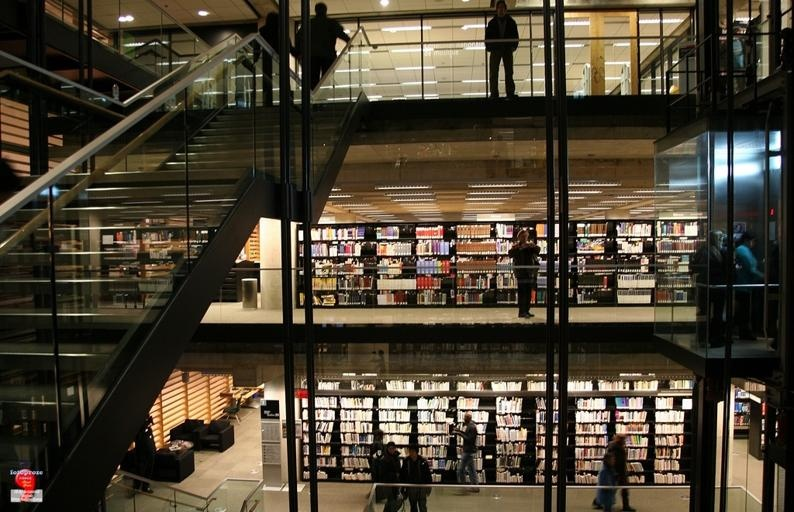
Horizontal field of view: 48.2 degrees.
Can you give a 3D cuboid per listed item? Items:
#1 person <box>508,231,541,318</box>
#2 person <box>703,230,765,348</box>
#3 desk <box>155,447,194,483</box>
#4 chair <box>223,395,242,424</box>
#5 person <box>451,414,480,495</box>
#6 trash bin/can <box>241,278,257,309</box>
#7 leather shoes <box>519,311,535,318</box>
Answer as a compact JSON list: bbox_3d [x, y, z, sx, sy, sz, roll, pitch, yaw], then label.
[{"bbox_3d":[2.095,0.301,14.579,0.464,1.488,0.458,1,-8,7],"label":"person"},{"bbox_3d":[4.485,0.446,11.885,0.923,1.558,0.607,10,-11,-44],"label":"person"},{"bbox_3d":[-4.225,3.966,16.715,0.760,0.595,0.392,5,-9,-17],"label":"desk"},{"bbox_3d":[-3.838,3.486,19.974,0.403,0.693,0.467,-1,-4,8],"label":"chair"},{"bbox_3d":[1.207,3.445,15.841,0.522,1.254,0.969,2,-8,4],"label":"person"},{"bbox_3d":[-2.536,0.657,15.201,0.275,0.540,0.174,4,-8,-11],"label":"trash bin/can"},{"bbox_3d":[2.131,0.977,14.574,0.263,0.115,0.093,0,3,3],"label":"leather shoes"}]
